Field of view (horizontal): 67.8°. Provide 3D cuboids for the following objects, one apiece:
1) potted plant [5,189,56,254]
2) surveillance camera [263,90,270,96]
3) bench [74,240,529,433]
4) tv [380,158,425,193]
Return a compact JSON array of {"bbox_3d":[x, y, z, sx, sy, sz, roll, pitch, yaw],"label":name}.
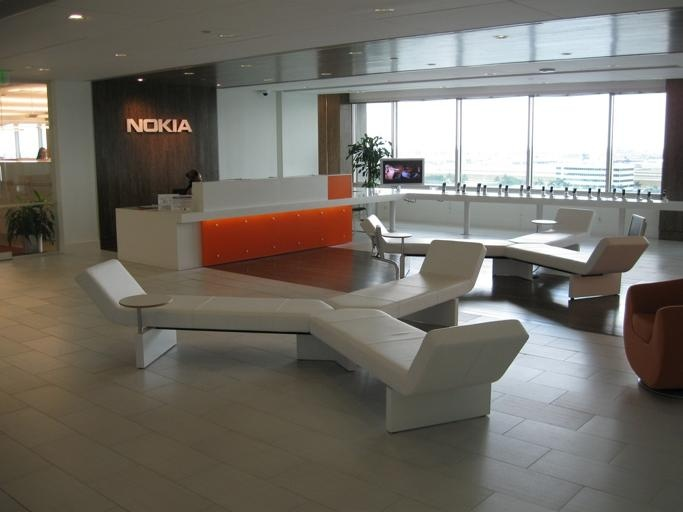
[{"bbox_3d":[-6.119,-0.588,10.324,1.075,1.317,0.964,-4,10,-37],"label":"potted plant"},{"bbox_3d":[-2.042,-4.390,13.622,0.148,0.098,0.144,-2,9,-13],"label":"surveillance camera"},{"bbox_3d":[-0.079,0.475,5.667,4.272,1.027,3.191,4,13,25],"label":"bench"},{"bbox_3d":[1.501,-2.049,12.746,1.147,0.695,0.148,1,2,9],"label":"tv"}]
